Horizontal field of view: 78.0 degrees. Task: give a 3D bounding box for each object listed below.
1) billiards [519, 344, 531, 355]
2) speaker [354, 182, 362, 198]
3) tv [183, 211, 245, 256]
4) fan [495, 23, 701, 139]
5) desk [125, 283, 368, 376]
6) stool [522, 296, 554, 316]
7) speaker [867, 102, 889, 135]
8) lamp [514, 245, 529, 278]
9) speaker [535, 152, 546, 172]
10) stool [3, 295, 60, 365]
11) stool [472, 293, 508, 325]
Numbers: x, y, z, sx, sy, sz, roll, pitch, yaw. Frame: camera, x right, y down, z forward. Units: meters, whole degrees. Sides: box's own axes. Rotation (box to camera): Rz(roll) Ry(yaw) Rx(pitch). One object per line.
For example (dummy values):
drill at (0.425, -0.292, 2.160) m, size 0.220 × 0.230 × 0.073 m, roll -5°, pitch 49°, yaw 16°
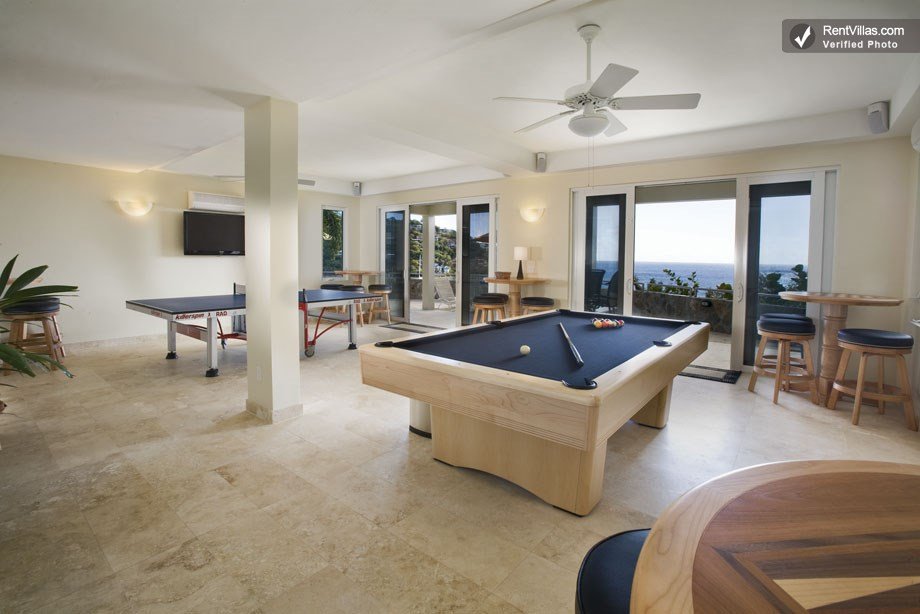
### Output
billiards at (0.517, 0.343, 4.540) m, size 0.076 × 0.041 × 0.077 m, roll -4°, pitch -13°, yaw 24°
speaker at (-1.993, -2.278, 11.112) m, size 0.166 × 0.305 × 0.159 m, roll 6°, pitch 46°, yaw -6°
tv at (-4.147, -1.226, 9.493) m, size 0.118 × 0.625 × 0.913 m, roll 6°, pitch 4°, yaw 42°
fan at (1.283, -1.977, 5.150) m, size 1.050 × 0.746 × 1.622 m, roll -3°, pitch 5°, yaw -10°
desk at (-2.562, 0.247, 7.579) m, size 4.254 × 1.011 × 2.652 m, roll 2°, pitch 6°, yaw 41°
stool at (1.162, -0.002, 8.421) m, size 0.305 × 0.329 × 0.302 m, roll 1°, pitch 8°, yaw 13°
speaker at (4.370, -1.977, 5.954) m, size 0.208 × 0.308 × 0.264 m, roll 2°, pitch 7°, yaw 34°
lamp at (0.929, -0.673, 8.680) m, size 0.202 × 0.476 × 0.370 m, roll -1°, pitch 6°, yaw 4°
speaker at (1.153, -2.089, 8.201) m, size 0.225 × 0.299 × 0.152 m, roll 0°, pitch 16°, yaw 1°
stool at (-5.258, 0.297, 7.069) m, size 0.521 × 0.823 × 0.827 m, roll -7°, pitch 7°, yaw -38°
stool at (0.448, 0.025, 8.816) m, size 0.502 × 0.655 × 0.489 m, roll -3°, pitch 3°, yaw -33°
